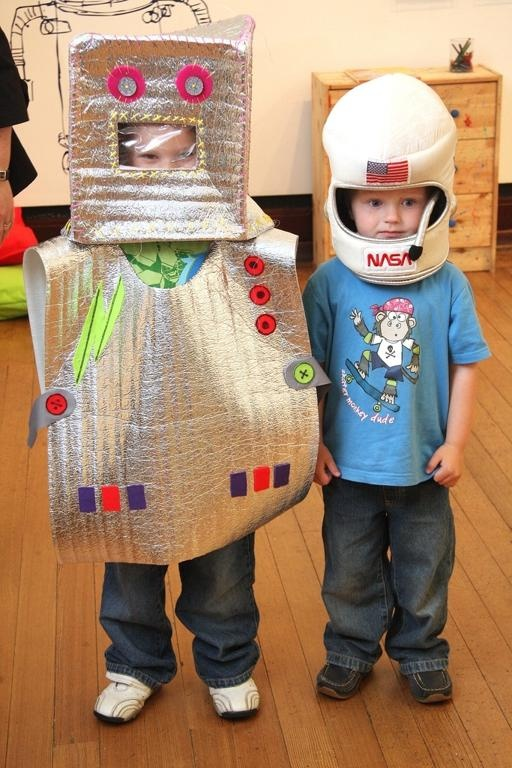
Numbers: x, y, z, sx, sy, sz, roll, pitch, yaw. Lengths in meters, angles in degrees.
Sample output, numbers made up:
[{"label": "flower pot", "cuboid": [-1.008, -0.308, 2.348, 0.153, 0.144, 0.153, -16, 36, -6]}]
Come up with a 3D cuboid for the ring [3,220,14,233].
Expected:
[{"label": "ring", "cuboid": [-0.427, -0.269, 1.125, 0.024, 0.019, 0.022, -5, 0, 0]}]
